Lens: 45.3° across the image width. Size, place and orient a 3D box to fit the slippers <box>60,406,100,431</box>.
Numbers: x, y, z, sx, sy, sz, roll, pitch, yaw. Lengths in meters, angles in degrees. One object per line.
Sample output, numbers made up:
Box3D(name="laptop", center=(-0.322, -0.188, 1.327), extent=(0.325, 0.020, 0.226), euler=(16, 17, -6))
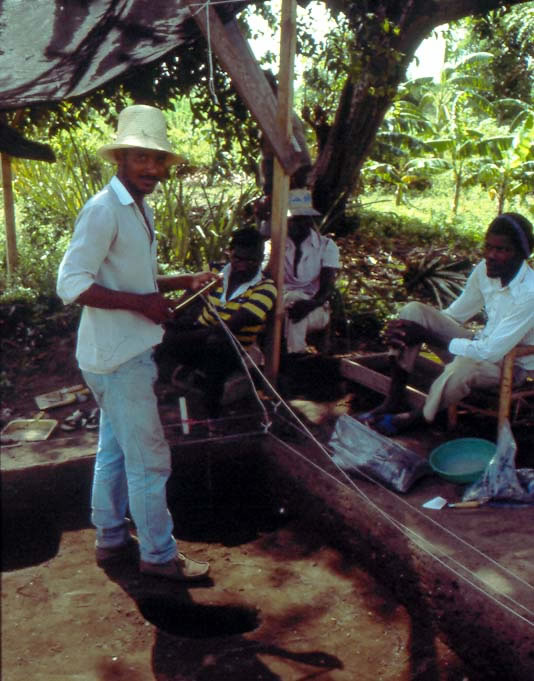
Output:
Box3D(name="slippers", center=(-1.258, 0.538, 4.300), extent=(0.201, 0.044, 0.180), euler=(-10, 10, 1))

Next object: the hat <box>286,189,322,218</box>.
Box3D(name="hat", center=(0.265, -1.081, 5.060), extent=(0.331, 0.125, 0.266), euler=(-4, 10, 2))

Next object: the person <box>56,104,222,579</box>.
Box3D(name="person", center=(-0.578, 0.057, 2.769), extent=(0.660, 2.094, 0.512), euler=(4, 14, -16))

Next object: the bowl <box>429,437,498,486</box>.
Box3D(name="bowl", center=(1.091, 0.673, 3.489), extent=(0.337, 0.204, 0.343), euler=(5, 11, -1))

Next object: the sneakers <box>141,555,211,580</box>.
Box3D(name="sneakers", center=(-0.403, 1.003, 2.878), extent=(0.322, 0.100, 0.110), euler=(1, 4, -13))

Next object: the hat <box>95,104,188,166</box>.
Box3D(name="hat", center=(-0.532, -0.863, 2.724), extent=(0.315, 0.129, 0.281), euler=(2, -12, 0))
